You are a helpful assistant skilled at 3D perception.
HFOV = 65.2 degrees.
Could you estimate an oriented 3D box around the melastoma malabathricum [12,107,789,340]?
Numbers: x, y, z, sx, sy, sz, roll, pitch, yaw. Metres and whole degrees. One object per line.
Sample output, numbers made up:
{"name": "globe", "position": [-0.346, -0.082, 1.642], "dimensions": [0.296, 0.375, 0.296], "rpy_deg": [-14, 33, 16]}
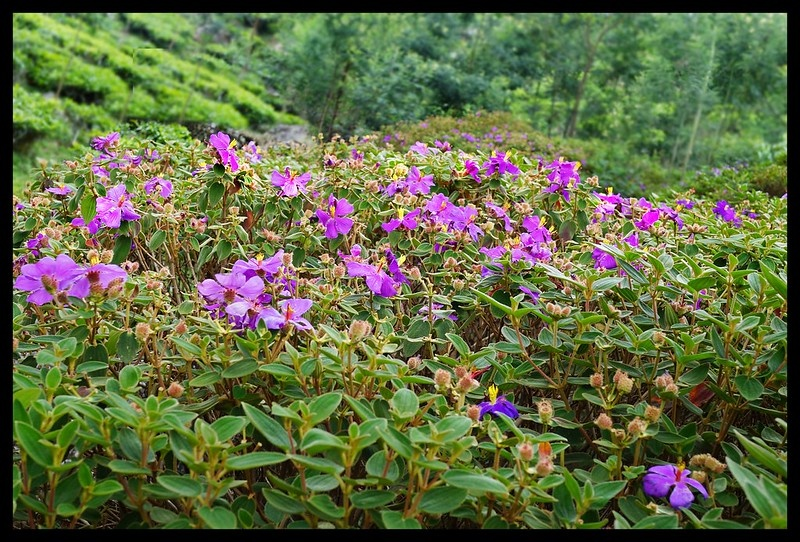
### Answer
{"name": "melastoma malabathricum", "position": [-0.093, -0.037, 2.389], "dimensions": [1.728, 0.671, 1.724], "rpy_deg": [0, 15, -3]}

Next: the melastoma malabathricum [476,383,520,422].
{"name": "melastoma malabathricum", "position": [0.311, 0.399, 1.867], "dimensions": [0.127, 0.121, 0.125], "rpy_deg": [3, -15, -36]}

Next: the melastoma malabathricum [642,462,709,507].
{"name": "melastoma malabathricum", "position": [0.775, 0.603, 1.768], "dimensions": [0.148, 0.082, 0.149], "rpy_deg": [5, 27, 6]}
